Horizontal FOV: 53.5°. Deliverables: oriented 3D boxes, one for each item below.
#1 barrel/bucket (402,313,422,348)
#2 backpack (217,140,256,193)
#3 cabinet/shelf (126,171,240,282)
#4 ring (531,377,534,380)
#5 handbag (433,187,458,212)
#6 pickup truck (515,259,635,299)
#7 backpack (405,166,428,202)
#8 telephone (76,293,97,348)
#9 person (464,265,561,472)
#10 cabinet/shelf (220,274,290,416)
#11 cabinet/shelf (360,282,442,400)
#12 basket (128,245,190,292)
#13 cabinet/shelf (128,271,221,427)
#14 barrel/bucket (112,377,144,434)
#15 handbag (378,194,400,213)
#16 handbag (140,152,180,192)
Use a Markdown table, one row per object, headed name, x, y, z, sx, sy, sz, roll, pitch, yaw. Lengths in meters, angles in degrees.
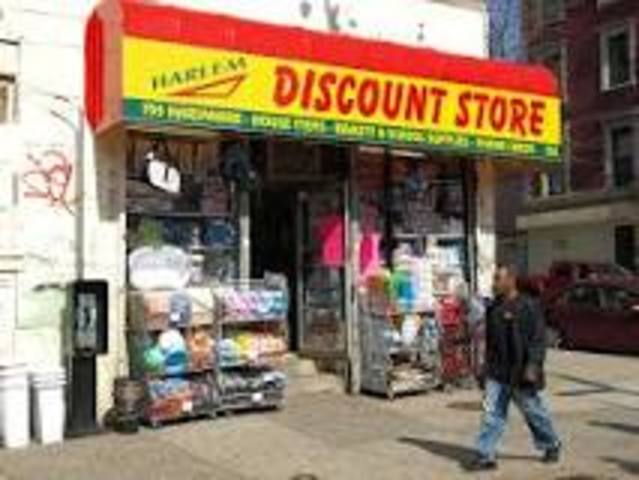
| name | x | y | z | sx | sy | sz | roll | pitch | yaw |
| --- | --- | --- | --- | --- | --- | --- | --- | --- | --- |
| barrel/bucket | 1.412 | 1.425 | 10.028 | 0.385 | 0.766 | 0.426 | 3 | -3 | 13 |
| backpack | -1.176 | -1.066 | 9.119 | 0.573 | 0.741 | 0.347 | 0 | 2 | -7 |
| cabinet/shelf | -2.091 | -0.214 | 9.364 | 1.515 | 1.510 | 0.486 | 2 | -8 | -29 |
| ring | 2.252 | 1.440 | 6.621 | 0.030 | 0.024 | 0.011 | -16 | 36 | 8 |
| handbag | 2.246 | -0.712 | 11.210 | 0.363 | 0.529 | 0.259 | 5 | 10 | 16 |
| pickup truck | 8.221 | 1.366 | 20.905 | 3.582 | 1.420 | 1.303 | -1 | -1 | 35 |
| backpack | 1.630 | -0.958 | 10.807 | 0.336 | 0.629 | 0.148 | 4 | 3 | -2 |
| telephone | -3.026 | 1.043 | 8.253 | 0.249 | 0.667 | 0.209 | 1 | 3 | -20 |
| person | 2.011 | 1.298 | 7.096 | 1.052 | 2.232 | 0.873 | 0 | 0 | -28 |
| cabinet/shelf | -1.051 | 1.448 | 9.416 | 1.086 | 1.892 | 1.019 | -2 | 10 | -24 |
| cabinet/shelf | 1.259 | 1.582 | 9.971 | 1.540 | 2.178 | 1.072 | 3 | -6 | -36 |
| basket | -2.274 | 0.396 | 8.942 | 0.690 | 0.614 | 0.252 | -5 | 7 | -29 |
| cabinet/shelf | -2.057 | 1.448 | 8.890 | 1.087 | 1.948 | 1.018 | 3 | 1 | -23 |
| barrel/bucket | -2.485 | 2.117 | 8.264 | 0.439 | 0.653 | 0.424 | 3 | 2 | 0 |
| handbag | 1.168 | -0.607 | 10.602 | 0.340 | 0.291 | 0.243 | -1 | 2 | -18 |
| handbag | -2.227 | -0.952 | 8.836 | 0.587 | 0.560 | 0.178 | -2 | 3 | -45 |
